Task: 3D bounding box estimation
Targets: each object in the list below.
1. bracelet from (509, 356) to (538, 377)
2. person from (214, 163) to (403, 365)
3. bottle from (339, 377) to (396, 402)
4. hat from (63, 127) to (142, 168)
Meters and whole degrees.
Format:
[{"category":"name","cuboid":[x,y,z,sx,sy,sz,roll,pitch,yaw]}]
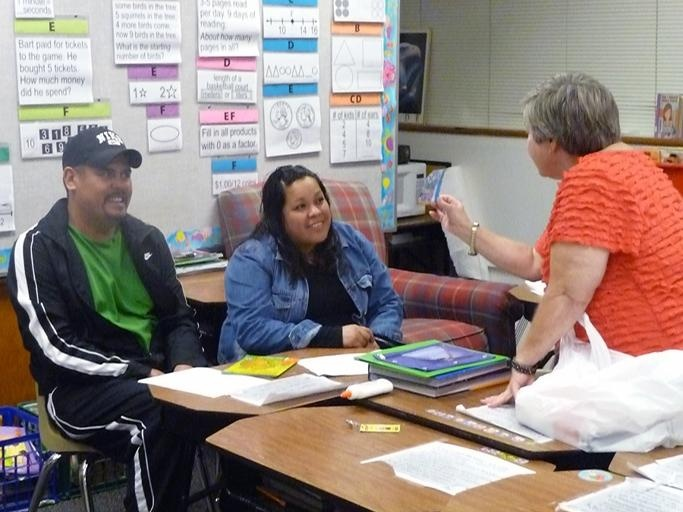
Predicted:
[{"category":"bracelet","cuboid":[0.485,0.293,1.439,0.052,0.024,0.047,13,5,35]},{"category":"person","cuboid":[-0.149,-0.013,2.282,0.633,0.746,0.536,0,9,11]},{"category":"bottle","cuboid":[0.077,0.365,1.513,0.119,0.036,0.062,-2,2,-40]},{"category":"hat","cuboid":[-1.030,-0.464,2.278,0.320,0.182,0.234,-7,8,22]}]
